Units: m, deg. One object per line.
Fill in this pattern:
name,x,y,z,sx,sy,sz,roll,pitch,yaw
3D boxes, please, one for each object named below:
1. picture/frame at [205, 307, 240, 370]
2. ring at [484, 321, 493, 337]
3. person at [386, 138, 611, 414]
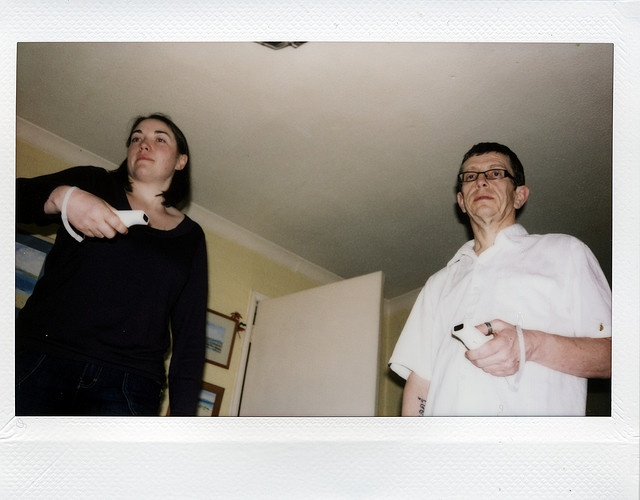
picture/frame,-0.575,0.499,3.032,0.049,0.320,0.219,-10,-27,44
ring,0.507,0.238,1.603,0.012,0.033,0.031,0,-6,6
person,0.581,0.067,1.770,0.661,0.984,0.273,4,-20,17
